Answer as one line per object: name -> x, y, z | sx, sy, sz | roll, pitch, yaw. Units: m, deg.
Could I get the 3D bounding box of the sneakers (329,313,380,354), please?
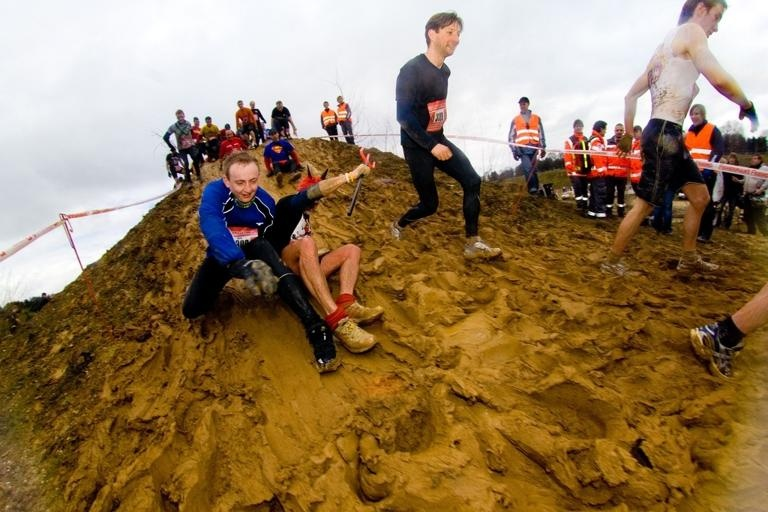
sneakers -> -0.259, 0.715, 3.207 | 0.482, 0.223, 0.207 | 23, 58, 32

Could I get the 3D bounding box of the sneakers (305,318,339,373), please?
sneakers -> -0.534, 0.790, 3.209 | 0.196, 0.244, 0.542 | -17, 57, -8

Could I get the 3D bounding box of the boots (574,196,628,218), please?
boots -> 4.697, -0.978, 7.637 | 0.769, 0.292, 0.577 | 0, 0, 8

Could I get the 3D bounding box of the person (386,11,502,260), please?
person -> 0.595, -1.255, 4.126 | 1.000, 2.659, 0.643 | -8, 17, 4

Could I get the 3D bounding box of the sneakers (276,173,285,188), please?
sneakers -> -1.896, -1.374, 6.654 | 0.122, 0.288, 0.181 | 5, 15, -9

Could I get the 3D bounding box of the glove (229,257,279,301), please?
glove -> -1.086, 0.174, 3.106 | 0.307, 0.298, 0.402 | -22, 21, -36

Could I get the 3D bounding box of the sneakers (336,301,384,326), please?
sneakers -> -0.211, 0.537, 3.452 | 0.409, 0.194, 0.162 | -3, 25, -2

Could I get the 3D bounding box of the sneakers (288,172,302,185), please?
sneakers -> -1.681, -1.470, 6.910 | 0.182, 0.265, 0.075 | 31, -5, -3

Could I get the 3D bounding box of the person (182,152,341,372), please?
person -> -1.130, 0.019, 3.401 | 1.567, 1.937, 0.839 | 1, 20, 30

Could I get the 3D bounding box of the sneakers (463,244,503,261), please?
sneakers -> 1.166, -0.045, 4.220 | 0.357, 0.159, 0.200 | -3, 9, 12

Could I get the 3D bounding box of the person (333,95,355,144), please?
person -> -1.154, -4.028, 10.803 | 0.439, 1.444, 1.578 | -10, 17, -4

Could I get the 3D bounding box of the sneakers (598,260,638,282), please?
sneakers -> 2.604, 0.177, 4.077 | 0.422, 0.187, 0.171 | 3, 34, 18

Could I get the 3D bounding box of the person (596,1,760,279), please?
person -> 2.978, -1.088, 3.739 | 1.044, 2.796, 0.915 | 6, 23, 41
